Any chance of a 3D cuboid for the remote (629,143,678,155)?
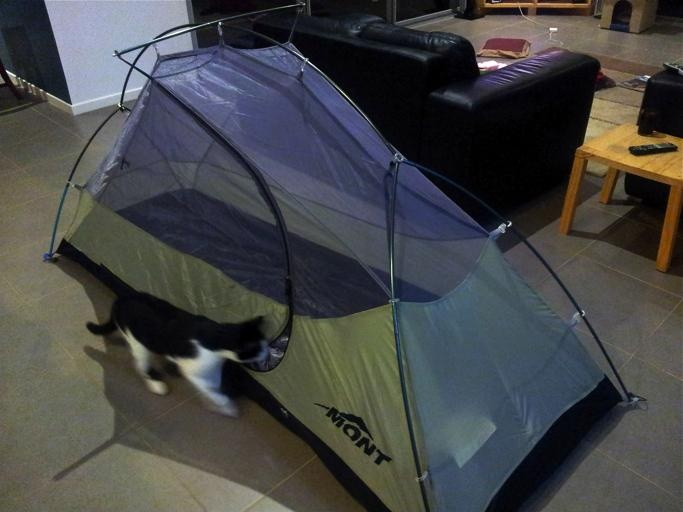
[{"bbox_3d":[1.610,-0.552,2.760,0.205,0.045,0.100,-8,34,-2],"label":"remote"}]
